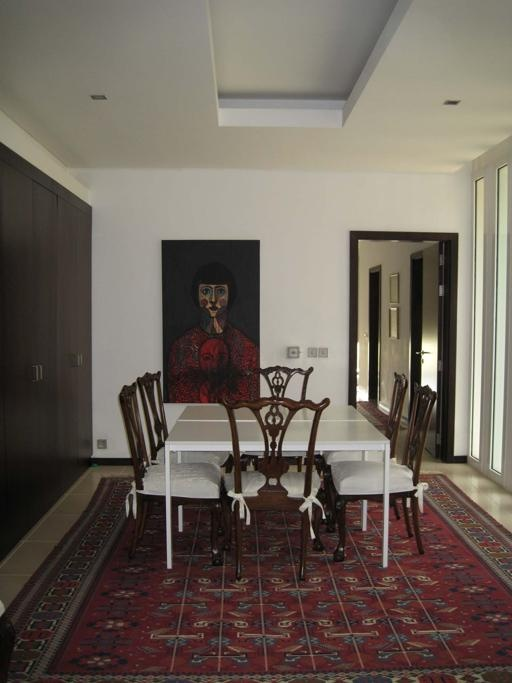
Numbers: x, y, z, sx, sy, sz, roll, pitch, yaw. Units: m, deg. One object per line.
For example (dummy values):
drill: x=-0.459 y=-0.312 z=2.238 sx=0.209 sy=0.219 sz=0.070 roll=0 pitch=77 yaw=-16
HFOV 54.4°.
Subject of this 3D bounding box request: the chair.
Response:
chair: x=0.168 y=0.630 z=2.911 sx=1.099 sy=0.663 sz=1.189 roll=0 pitch=5 yaw=-3
